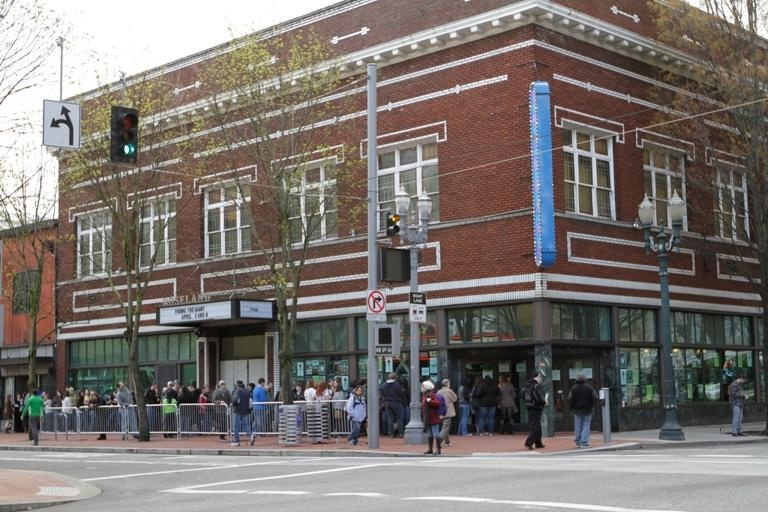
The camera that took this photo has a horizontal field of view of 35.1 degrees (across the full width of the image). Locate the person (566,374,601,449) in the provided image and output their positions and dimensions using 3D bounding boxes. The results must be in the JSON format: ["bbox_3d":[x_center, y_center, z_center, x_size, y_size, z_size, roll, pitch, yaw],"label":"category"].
[{"bbox_3d":[6.749,5.318,41.628,0.893,2.495,1.106,-3,-14,11],"label":"person"}]

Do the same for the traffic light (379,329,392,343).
[{"bbox_3d":[-0.014,2.772,42.237,0.481,0.535,0.058,0,-8,-3],"label":"traffic light"}]

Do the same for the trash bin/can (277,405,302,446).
[{"bbox_3d":[-3.495,6.113,44.062,0.770,1.493,0.467,-1,-13,1],"label":"trash bin/can"}]

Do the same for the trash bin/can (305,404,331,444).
[{"bbox_3d":[-2.538,6.169,45.285,0.914,1.502,0.745,1,-13,-7],"label":"trash bin/can"}]

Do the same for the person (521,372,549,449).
[{"bbox_3d":[5.053,5.270,41.281,0.893,2.442,0.944,-3,-5,31],"label":"person"}]

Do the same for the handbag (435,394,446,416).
[{"bbox_3d":[1.858,4.923,40.407,0.312,0.711,0.749,-2,-14,3],"label":"handbag"}]
